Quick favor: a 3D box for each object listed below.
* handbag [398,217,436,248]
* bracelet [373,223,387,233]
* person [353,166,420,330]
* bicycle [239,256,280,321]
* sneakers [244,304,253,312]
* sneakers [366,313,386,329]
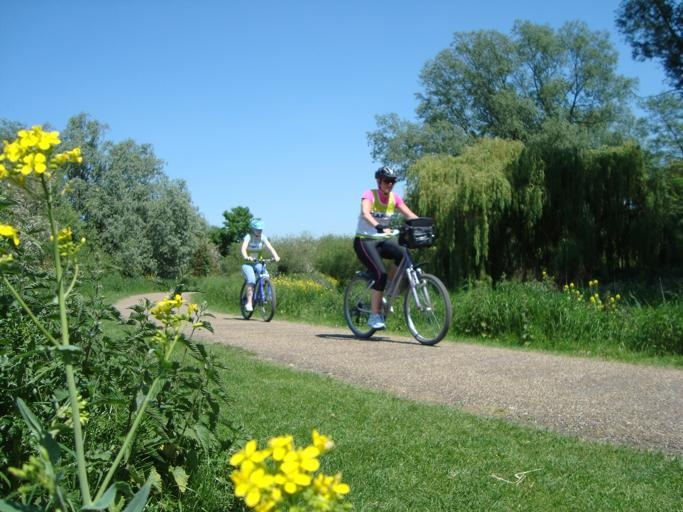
[{"bbox_3d":[1.093,-0.349,9.181,0.371,0.446,0.435,4,-15,-25],"label":"handbag"},{"bbox_3d":[0.561,-0.429,9.037,0.133,0.169,0.059,6,-13,-12],"label":"bracelet"},{"bbox_3d":[0.616,-0.083,9.451,0.819,2.457,0.931,0,0,-6],"label":"person"},{"bbox_3d":[-1.742,0.913,14.058,0.650,1.037,1.418,1,-5,-23],"label":"bicycle"},{"bbox_3d":[-2.043,1.147,13.924,0.149,0.171,0.229,0,0,-8],"label":"sneakers"},{"bbox_3d":[0.530,1.003,9.556,0.121,0.193,0.369,0,-6,-19],"label":"sneakers"}]
